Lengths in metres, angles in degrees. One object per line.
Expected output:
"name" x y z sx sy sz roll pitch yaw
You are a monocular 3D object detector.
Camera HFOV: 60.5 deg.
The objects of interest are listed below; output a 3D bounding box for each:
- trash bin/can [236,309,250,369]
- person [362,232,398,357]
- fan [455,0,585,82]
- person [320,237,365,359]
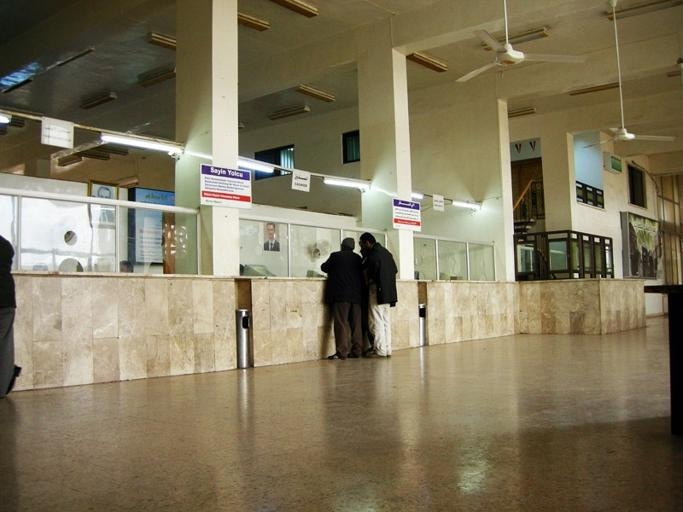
"trash bin/can" -1.640 1.384 9.840 0.155 0.962 0.283 -3 -4 37
"person" 0.712 0.725 11.291 0.689 2.370 0.584 -1 -3 10
"fan" 4.255 -5.099 13.688 1.657 1.836 1.460 7 -26 -7
"person" 0.071 0.795 11.044 0.798 2.229 0.430 2 -4 -39
